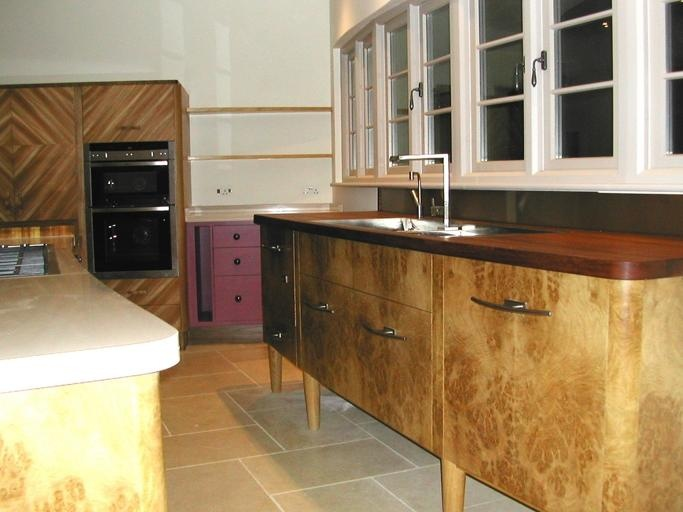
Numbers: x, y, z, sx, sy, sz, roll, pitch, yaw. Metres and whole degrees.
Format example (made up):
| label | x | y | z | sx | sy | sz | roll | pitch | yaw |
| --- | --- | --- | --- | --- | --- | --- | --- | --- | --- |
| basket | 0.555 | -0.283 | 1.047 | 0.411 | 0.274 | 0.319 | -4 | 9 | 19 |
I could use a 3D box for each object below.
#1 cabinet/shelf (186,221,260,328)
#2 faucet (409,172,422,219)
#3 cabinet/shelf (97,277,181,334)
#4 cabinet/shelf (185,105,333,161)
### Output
| label | x | y | z | sx | sy | sz | roll | pitch | yaw |
| --- | --- | --- | --- | --- | --- | --- | --- | --- | --- |
| cabinet/shelf | -1.095 | 0.145 | 5.022 | 0.914 | 0.936 | 0.483 | 0 | 1 | -9 |
| faucet | 0.385 | -0.300 | 2.895 | 0.090 | 0.265 | 0.046 | 4 | -1 | -36 |
| cabinet/shelf | -1.707 | 0.338 | 4.695 | 0.675 | 0.663 | 0.471 | 0 | 0 | -14 |
| cabinet/shelf | -0.817 | -1.188 | 5.262 | 1.767 | 0.514 | 0.648 | -2 | 8 | -5 |
